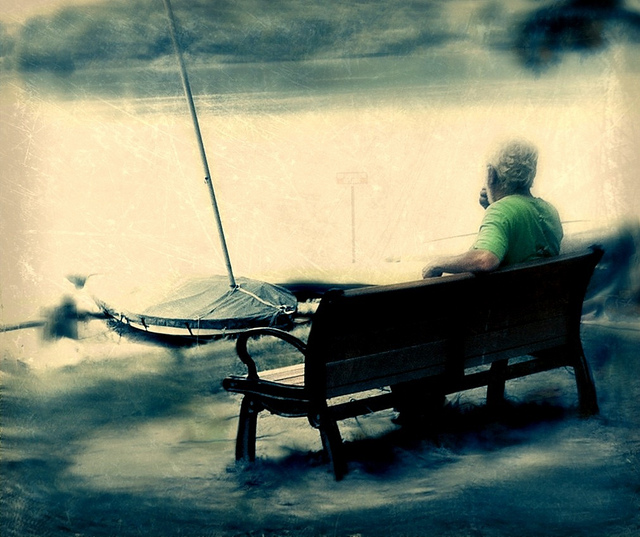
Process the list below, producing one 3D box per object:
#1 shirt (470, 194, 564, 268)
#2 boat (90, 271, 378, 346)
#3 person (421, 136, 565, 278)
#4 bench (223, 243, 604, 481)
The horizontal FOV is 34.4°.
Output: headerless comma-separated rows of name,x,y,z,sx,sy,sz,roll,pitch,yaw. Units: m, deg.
shirt,1.088,-0.172,5.571,0.740,0.458,0.359,-7,5,-44
boat,-0.499,0.223,6.584,1.681,0.317,0.674,1,7,17
person,0.950,-0.319,5.630,0.838,0.655,0.424,-11,17,-36
bench,0.533,0.484,5.468,1.993,1.117,0.462,-6,13,-16
